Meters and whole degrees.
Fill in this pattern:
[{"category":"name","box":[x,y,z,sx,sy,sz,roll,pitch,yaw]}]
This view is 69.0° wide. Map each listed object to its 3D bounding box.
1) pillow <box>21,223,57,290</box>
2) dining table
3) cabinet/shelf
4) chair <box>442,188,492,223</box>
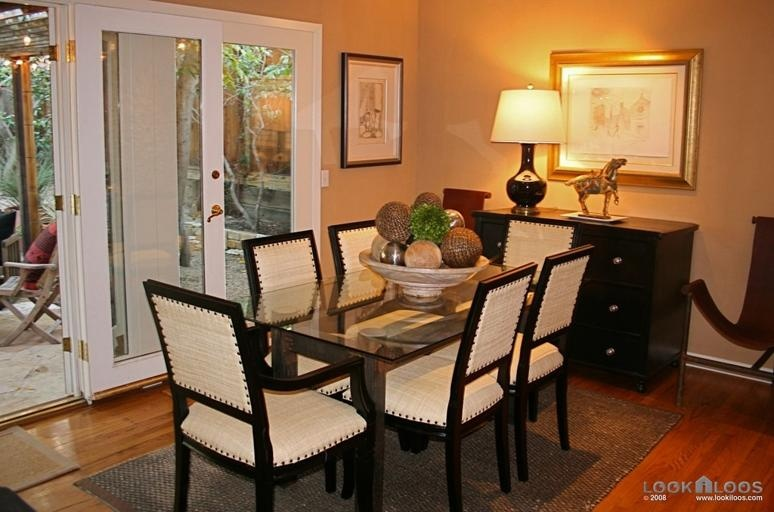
[{"category":"pillow","box":[-3.387,0.017,5.448,0.198,0.592,0.548,18,8,-28]},{"category":"dining table","box":[0.138,0.488,3.437,1.602,1.314,1.438,16,22,38]},{"category":"cabinet/shelf","box":[1.446,0.353,4.008,1.424,1.071,0.820,10,14,39]},{"category":"chair","box":[0.763,-0.543,5.738,0.395,0.530,0.418,11,12,39]}]
